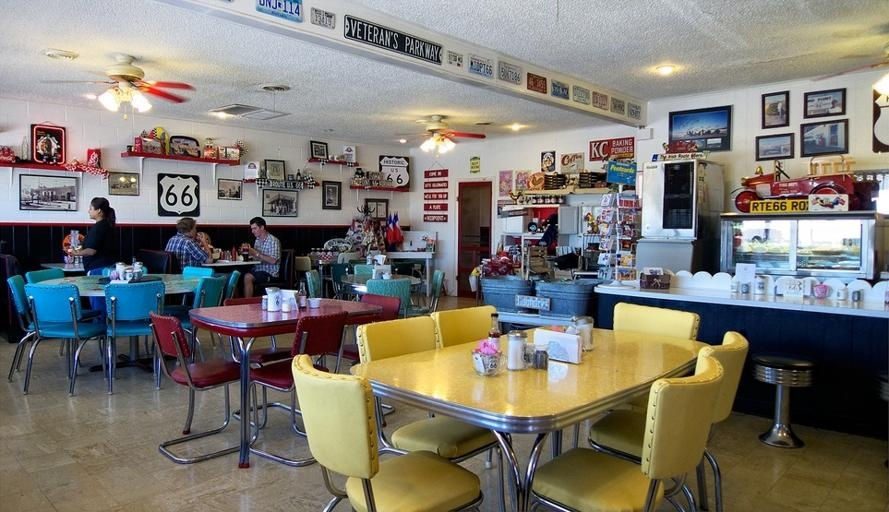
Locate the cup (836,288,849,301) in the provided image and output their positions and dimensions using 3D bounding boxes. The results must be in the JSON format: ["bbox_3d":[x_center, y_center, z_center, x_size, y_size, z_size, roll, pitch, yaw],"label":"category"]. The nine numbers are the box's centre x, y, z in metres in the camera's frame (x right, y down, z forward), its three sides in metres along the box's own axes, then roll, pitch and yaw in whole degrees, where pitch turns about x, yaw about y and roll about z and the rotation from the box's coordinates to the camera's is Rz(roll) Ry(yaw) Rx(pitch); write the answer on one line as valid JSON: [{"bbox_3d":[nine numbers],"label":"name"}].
[{"bbox_3d":[4.500,0.433,6.824,0.149,0.117,0.074,3,-11,-3],"label":"cup"}]

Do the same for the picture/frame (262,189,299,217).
[{"bbox_3d":[-3.451,-1.110,12.431,0.713,0.438,0.027,-1,2,-37],"label":"picture/frame"}]

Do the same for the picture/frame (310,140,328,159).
[{"bbox_3d":[-2.709,-2.271,12.803,0.040,0.365,0.477,-12,-2,41],"label":"picture/frame"}]

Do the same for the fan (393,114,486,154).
[{"bbox_3d":[-0.070,-2.229,11.225,1.137,0.365,0.933,-1,-2,9],"label":"fan"}]

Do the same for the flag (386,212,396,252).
[{"bbox_3d":[-1.211,-0.539,13.428,0.218,0.826,0.469,0,6,-4],"label":"flag"}]

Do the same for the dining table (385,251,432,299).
[{"bbox_3d":[-0.541,0.291,12.812,1.442,1.131,0.996,0,-1,-12],"label":"dining table"}]

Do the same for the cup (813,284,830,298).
[{"bbox_3d":[4.319,0.407,6.916,0.189,0.127,0.144,3,-4,-23],"label":"cup"}]

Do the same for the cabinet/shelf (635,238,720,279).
[{"bbox_3d":[3.713,-0.001,9.538,0.909,0.552,0.832,3,-3,-32],"label":"cabinet/shelf"}]

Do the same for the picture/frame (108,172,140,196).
[{"bbox_3d":[-5.815,-1.310,10.832,0.532,0.441,0.052,-2,3,-38],"label":"picture/frame"}]

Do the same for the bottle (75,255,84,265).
[{"bbox_3d":[-5.895,0.059,9.694,0.147,0.120,0.101,7,12,30],"label":"bottle"}]

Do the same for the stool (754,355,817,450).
[{"bbox_3d":[3.680,1.569,6.561,0.508,0.949,0.388,-2,7,-22],"label":"stool"}]

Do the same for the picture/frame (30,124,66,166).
[{"bbox_3d":[-6.692,-1.910,10.158,0.505,0.654,0.163,-3,7,-29],"label":"picture/frame"}]

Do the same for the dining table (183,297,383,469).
[{"bbox_3d":[-1.694,1.426,6.705,1.740,1.470,2.294,1,1,41],"label":"dining table"}]

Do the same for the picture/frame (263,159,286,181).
[{"bbox_3d":[-3.501,-1.757,12.260,0.039,0.415,0.537,-18,-5,42],"label":"picture/frame"}]

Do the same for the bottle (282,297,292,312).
[{"bbox_3d":[-1.695,0.533,6.502,0.133,0.123,0.123,-1,4,-24],"label":"bottle"}]

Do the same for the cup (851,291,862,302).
[{"bbox_3d":[4.634,0.439,6.762,0.107,0.113,0.066,3,6,21],"label":"cup"}]

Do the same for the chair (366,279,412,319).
[{"bbox_3d":[-0.752,0.561,8.286,0.595,0.625,0.573,-1,7,-20],"label":"chair"}]

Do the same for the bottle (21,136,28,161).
[{"bbox_3d":[-7.000,-1.809,10.012,0.106,0.381,0.104,1,6,0],"label":"bottle"}]

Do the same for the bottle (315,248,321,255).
[{"bbox_3d":[-2.623,-0.092,12.546,0.152,0.139,0.144,0,-2,-27],"label":"bottle"}]

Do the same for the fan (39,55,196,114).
[{"bbox_3d":[-4.384,-2.441,8.741,1.346,0.410,1.252,4,10,17],"label":"fan"}]

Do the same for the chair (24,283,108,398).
[{"bbox_3d":[-4.924,0.984,7.765,0.914,1.341,1.217,-3,7,-33],"label":"chair"}]

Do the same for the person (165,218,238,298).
[{"bbox_3d":[-4.414,0.249,10.294,0.897,1.628,0.554,9,20,-7],"label":"person"}]

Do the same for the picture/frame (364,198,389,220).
[{"bbox_3d":[-1.598,-1.076,13.690,0.695,0.499,0.074,0,4,-40],"label":"picture/frame"}]

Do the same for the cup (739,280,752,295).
[{"bbox_3d":[3.582,0.382,7.194,0.151,0.144,0.143,0,7,0],"label":"cup"}]

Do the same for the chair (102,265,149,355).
[{"bbox_3d":[-4.007,0.815,7.785,0.646,1.031,0.929,-2,6,-27],"label":"chair"}]

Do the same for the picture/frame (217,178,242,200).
[{"bbox_3d":[-4.261,-1.330,11.835,0.532,0.383,0.050,-2,1,-40],"label":"picture/frame"}]

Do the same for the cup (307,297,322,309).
[{"bbox_3d":[-1.474,0.533,6.768,0.115,0.074,0.130,-2,-4,19],"label":"cup"}]

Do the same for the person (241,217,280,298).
[{"bbox_3d":[-3.442,-0.011,11.292,0.686,1.436,1.203,-1,6,-17],"label":"person"}]
